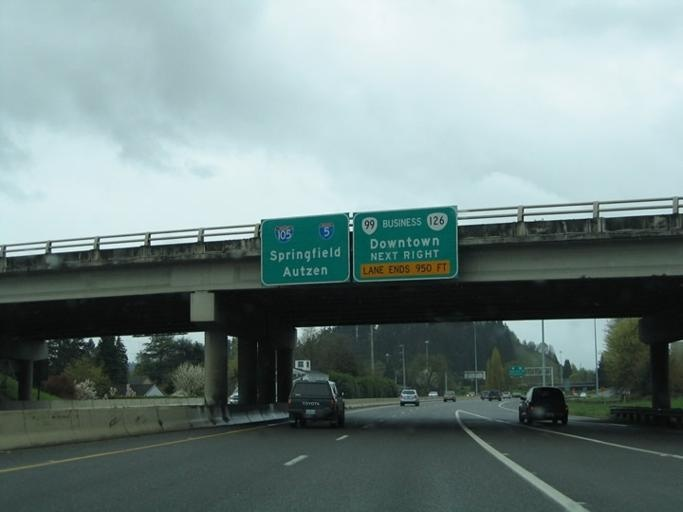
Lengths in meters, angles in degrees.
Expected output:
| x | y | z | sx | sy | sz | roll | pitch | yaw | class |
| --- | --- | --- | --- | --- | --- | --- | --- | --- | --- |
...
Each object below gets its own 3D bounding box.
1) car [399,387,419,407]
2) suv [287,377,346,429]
| x | y | z | sx | sy | sz | roll | pitch | yaw | class |
| --- | --- | --- | --- | --- | --- | --- | --- | --- | --- |
| 6.899 | 14.056 | 95.841 | 1.725 | 1.761 | 2.136 | -3 | -10 | 7 | car |
| -1.129 | 7.310 | 47.713 | 2.445 | 2.369 | 3.572 | -2 | -11 | 5 | suv |
